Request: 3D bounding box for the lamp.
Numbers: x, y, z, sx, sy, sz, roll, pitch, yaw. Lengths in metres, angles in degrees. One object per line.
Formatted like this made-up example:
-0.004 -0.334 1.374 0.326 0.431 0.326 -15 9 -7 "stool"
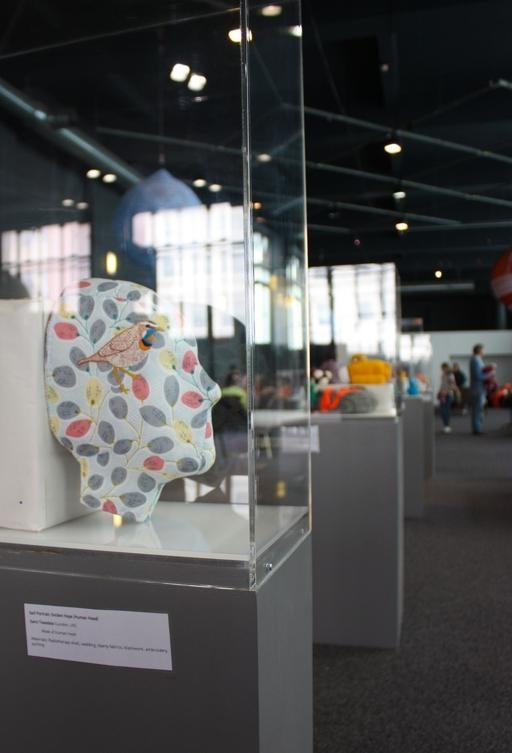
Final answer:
0.664 -0.902 3.407 0.114 0.413 0.105 -1 6 7 "lamp"
